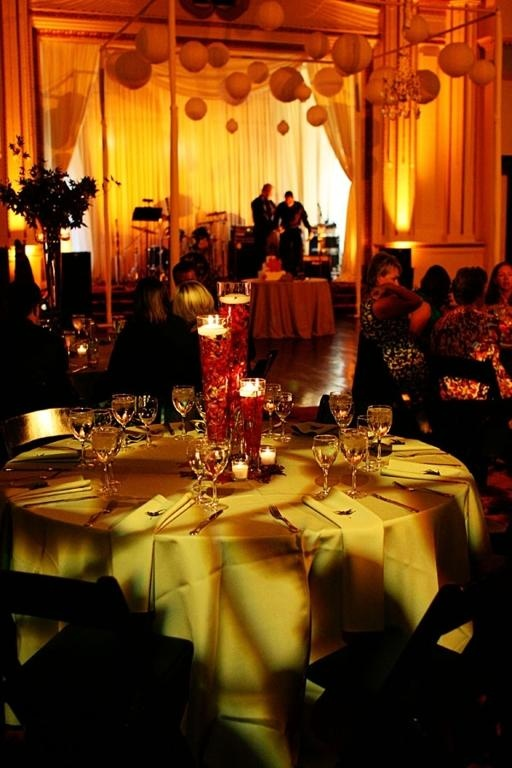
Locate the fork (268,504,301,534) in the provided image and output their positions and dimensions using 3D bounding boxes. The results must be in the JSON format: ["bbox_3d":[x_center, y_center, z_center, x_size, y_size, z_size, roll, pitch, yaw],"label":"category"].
[{"bbox_3d":[0.072,0.305,1.355,0.022,0.023,0.143,-2,16,-10],"label":"fork"}]

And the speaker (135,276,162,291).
[{"bbox_3d":[-0.641,-0.600,3.498,0.100,0.086,0.106,2,15,5],"label":"speaker"}]

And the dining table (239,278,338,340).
[{"bbox_3d":[0.596,-1.340,10.312,1.487,0.961,1.567,1,15,8],"label":"dining table"}]

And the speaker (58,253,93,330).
[{"bbox_3d":[-2.944,-1.654,9.559,0.536,1.014,0.524,-1,-4,12],"label":"speaker"}]
